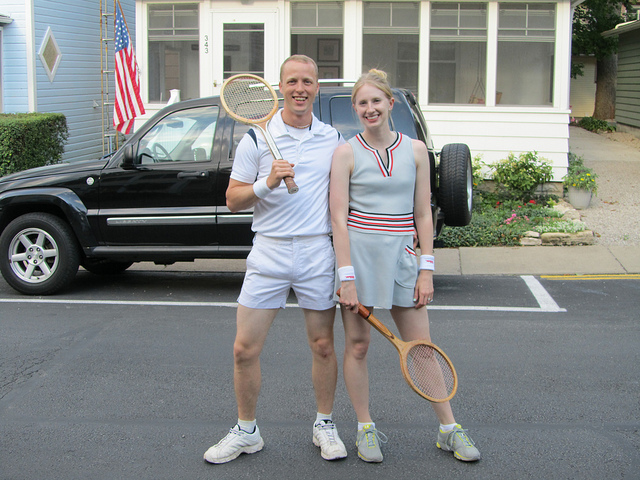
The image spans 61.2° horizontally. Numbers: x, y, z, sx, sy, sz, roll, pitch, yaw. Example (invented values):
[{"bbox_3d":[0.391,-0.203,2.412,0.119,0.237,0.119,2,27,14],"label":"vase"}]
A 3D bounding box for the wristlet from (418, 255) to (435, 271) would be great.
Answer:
[{"bbox_3d":[0.646,0.141,3.226,0.075,0.068,0.082,4,-9,0],"label":"wristlet"}]

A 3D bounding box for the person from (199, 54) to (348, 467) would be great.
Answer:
[{"bbox_3d":[-0.231,0.132,3.247,0.797,2.402,0.536,0,10,2],"label":"person"}]

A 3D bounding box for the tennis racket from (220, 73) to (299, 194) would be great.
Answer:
[{"bbox_3d":[-0.409,-0.784,3.364,0.354,0.077,1.001,-15,57,-14],"label":"tennis racket"}]

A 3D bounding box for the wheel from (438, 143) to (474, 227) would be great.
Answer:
[{"bbox_3d":[1.701,-0.680,6.802,0.304,0.981,0.952,1,24,12],"label":"wheel"}]

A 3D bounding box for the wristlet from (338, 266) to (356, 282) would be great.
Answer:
[{"bbox_3d":[0.152,0.193,3.054,0.079,0.065,0.082,0,-9,-10],"label":"wristlet"}]

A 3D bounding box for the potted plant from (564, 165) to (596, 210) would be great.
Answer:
[{"bbox_3d":[5.508,-1.096,11.495,0.625,0.811,0.765,5,12,27],"label":"potted plant"}]

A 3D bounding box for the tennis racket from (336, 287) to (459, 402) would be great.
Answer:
[{"bbox_3d":[0.511,0.751,3.696,0.381,1.039,0.084,-44,-2,-35],"label":"tennis racket"}]

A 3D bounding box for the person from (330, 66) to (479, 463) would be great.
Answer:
[{"bbox_3d":[0.457,0.160,3.278,0.776,2.341,0.670,0,10,1],"label":"person"}]
